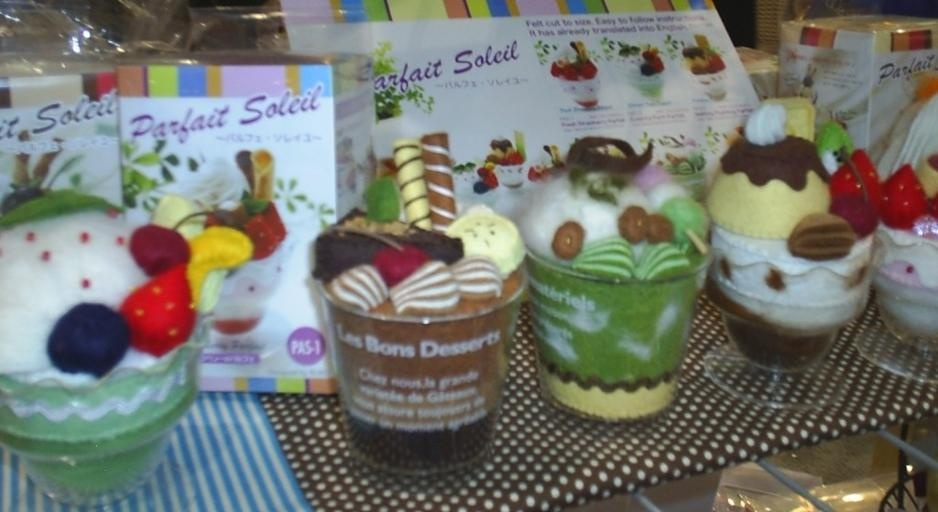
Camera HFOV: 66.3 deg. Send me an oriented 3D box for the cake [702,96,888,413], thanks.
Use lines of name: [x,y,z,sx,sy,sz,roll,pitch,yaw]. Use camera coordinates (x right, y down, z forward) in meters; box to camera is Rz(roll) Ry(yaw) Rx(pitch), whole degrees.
cake: [0.543,0.003,1.225,0.269,0.488,0.238,2,30,18]

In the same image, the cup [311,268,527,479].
cup: [-0.074,0.198,1.230,0.342,0.233,0.312,2,15,0]

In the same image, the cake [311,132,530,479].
cake: [-0.060,0.127,1.143,0.325,0.380,0.237,-5,28,3]

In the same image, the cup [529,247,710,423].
cup: [0.275,0.161,1.300,0.308,0.217,0.305,4,-4,0]

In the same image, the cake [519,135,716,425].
cake: [0.253,0.055,1.284,0.342,0.407,0.320,1,15,9]
